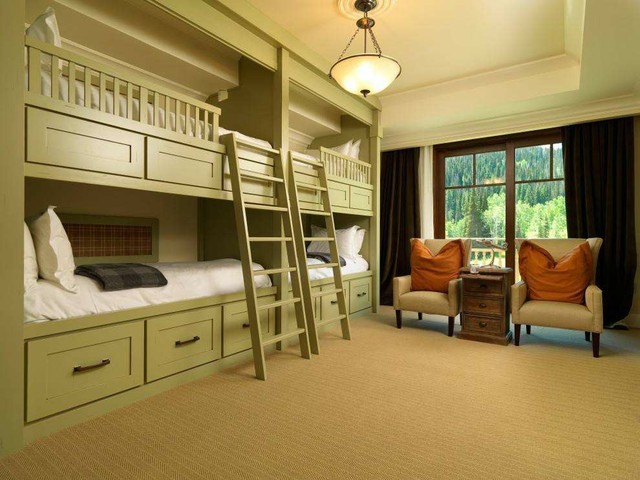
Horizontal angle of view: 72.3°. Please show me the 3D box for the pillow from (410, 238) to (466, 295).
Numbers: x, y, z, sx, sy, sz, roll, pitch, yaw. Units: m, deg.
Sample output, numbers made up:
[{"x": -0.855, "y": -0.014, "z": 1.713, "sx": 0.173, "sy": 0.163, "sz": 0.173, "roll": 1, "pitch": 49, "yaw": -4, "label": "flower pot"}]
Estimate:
[{"x": 1.293, "y": 0.308, "z": 4.797, "sx": 0.539, "sy": 0.571, "sz": 0.221, "roll": -2, "pitch": -20, "yaw": 27, "label": "pillow"}]

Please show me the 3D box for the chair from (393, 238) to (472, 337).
[{"x": 1.188, "y": 0.510, "z": 4.861, "sx": 0.773, "sy": 0.926, "sz": 0.819, "roll": 3, "pitch": -2, "yaw": 6, "label": "chair"}]

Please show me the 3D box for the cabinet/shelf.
[{"x": 1.689, "y": 0.664, "z": 4.419, "sx": 0.597, "sy": 0.908, "sz": 0.634, "roll": -1, "pitch": -3, "yaw": 31, "label": "cabinet/shelf"}]

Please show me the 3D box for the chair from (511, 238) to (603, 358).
[{"x": 2.314, "y": 0.467, "z": 4.318, "sx": 0.803, "sy": 1.055, "sz": 0.952, "roll": 2, "pitch": -4, "yaw": 33, "label": "chair"}]

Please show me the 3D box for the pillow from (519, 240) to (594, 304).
[{"x": 2.349, "y": 0.324, "z": 4.361, "sx": 0.644, "sy": 0.645, "sz": 0.337, "roll": -1, "pitch": 9, "yaw": 35, "label": "pillow"}]
